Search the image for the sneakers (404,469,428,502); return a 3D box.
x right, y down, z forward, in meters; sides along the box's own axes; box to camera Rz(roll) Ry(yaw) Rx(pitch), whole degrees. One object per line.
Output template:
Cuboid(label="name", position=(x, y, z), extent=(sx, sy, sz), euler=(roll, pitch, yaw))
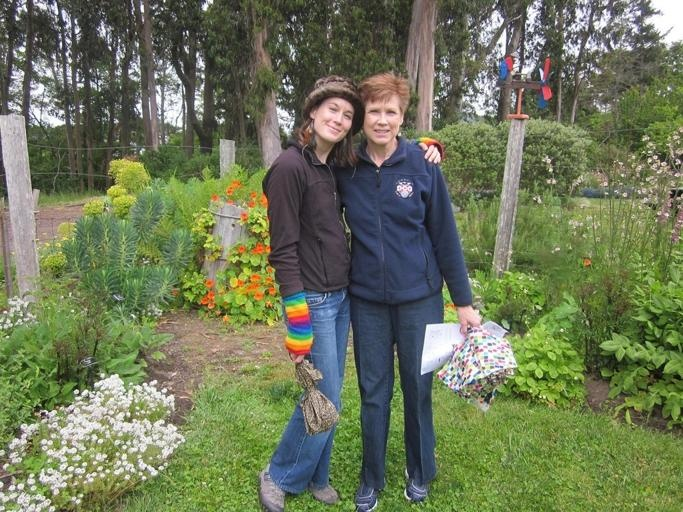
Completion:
Cuboid(label="sneakers", position=(0.568, 1.803, 4.050), extent=(0.112, 0.134, 0.268), euler=(1, 5, -8))

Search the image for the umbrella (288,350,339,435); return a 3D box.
Cuboid(label="umbrella", position=(-0.177, 1.011, 3.700), extent=(0.299, 0.586, 0.179), euler=(0, 8, -6))

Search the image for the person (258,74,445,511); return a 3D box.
Cuboid(label="person", position=(-0.225, 0.318, 3.755), extent=(0.748, 3.188, 0.495), euler=(-1, 8, -11))

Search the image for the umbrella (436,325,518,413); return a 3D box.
Cuboid(label="umbrella", position=(0.938, 0.773, 3.727), extent=(0.540, 0.552, 0.241), euler=(40, -12, 22))

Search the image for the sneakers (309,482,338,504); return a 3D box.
Cuboid(label="sneakers", position=(-0.131, 1.831, 3.995), extent=(0.194, 0.093, 0.115), euler=(4, 16, 39))
